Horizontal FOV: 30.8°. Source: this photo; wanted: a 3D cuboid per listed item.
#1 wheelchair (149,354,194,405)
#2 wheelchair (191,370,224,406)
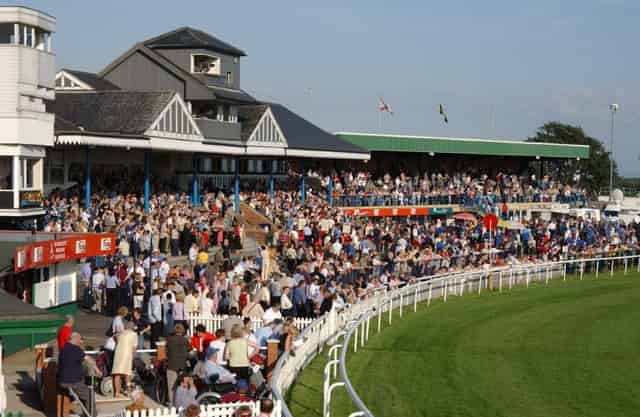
[{"bbox_3d":[-5.377,5.949,40.073,1.126,1.601,1.244,-4,-2,35],"label":"wheelchair"},{"bbox_3d":[-3.730,5.996,38.257,0.927,1.306,0.810,-2,1,-3],"label":"wheelchair"}]
